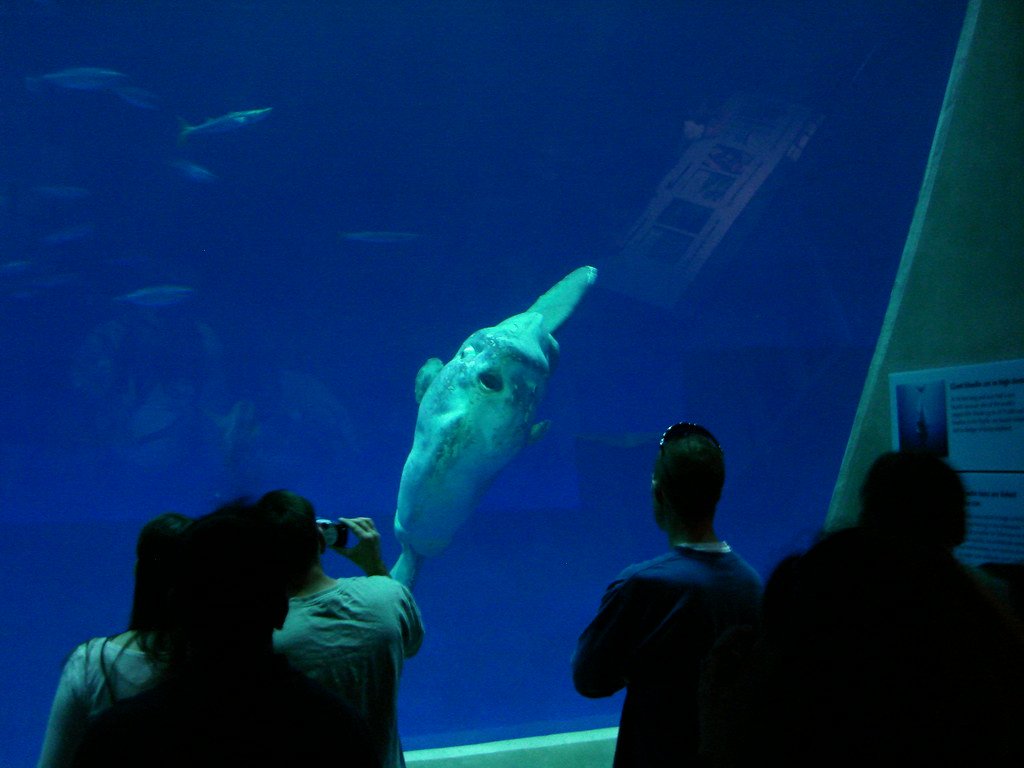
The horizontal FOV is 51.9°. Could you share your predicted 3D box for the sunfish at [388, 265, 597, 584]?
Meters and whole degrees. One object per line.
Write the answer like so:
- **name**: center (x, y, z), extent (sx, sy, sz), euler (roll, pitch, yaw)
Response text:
- **sunfish**: center (-0.455, 0.389, 10.687), extent (1.169, 3.423, 1.701), euler (29, -3, -20)
